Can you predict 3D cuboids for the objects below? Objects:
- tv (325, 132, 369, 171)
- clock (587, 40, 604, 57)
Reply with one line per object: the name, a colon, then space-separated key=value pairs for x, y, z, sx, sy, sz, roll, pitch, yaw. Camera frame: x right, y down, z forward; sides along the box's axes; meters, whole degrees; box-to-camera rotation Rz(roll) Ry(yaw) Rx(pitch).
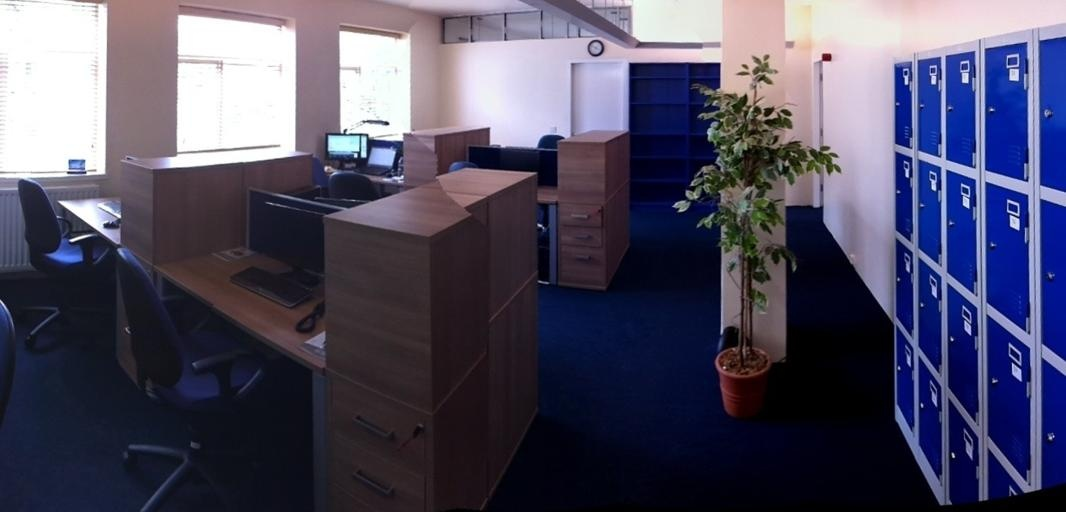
tv: x=-3.256 y=-1.812 z=11.670 sx=0.784 sy=0.557 sz=0.414 roll=-6 pitch=14 yaw=-38
clock: x=1.196 y=-4.063 z=13.343 sx=0.348 sy=0.298 sz=0.076 roll=6 pitch=5 yaw=22
